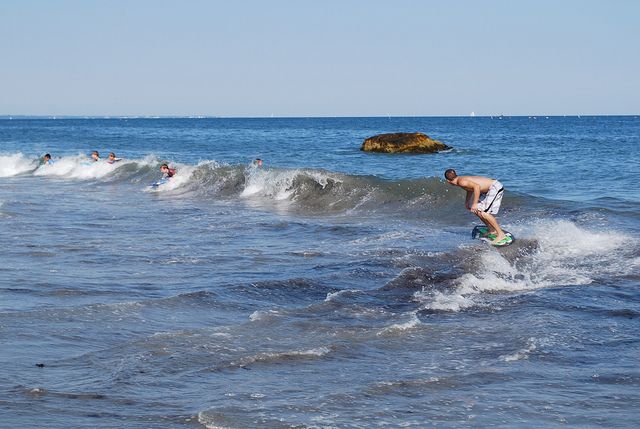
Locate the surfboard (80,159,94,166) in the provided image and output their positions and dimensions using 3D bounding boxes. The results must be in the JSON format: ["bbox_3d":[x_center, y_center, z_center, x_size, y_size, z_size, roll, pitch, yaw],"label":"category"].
[{"bbox_3d":[-9.306,-2.065,35.675,0.123,0.185,0.809,32,-7,-36],"label":"surfboard"}]

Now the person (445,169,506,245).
[{"bbox_3d":[3.344,-0.173,19.239,1.294,1.574,1.074,2,7,7],"label":"person"}]

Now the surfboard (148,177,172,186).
[{"bbox_3d":[-5.584,-1.157,31.293,1.185,0.160,0.307,-11,19,-41],"label":"surfboard"}]

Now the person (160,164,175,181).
[{"bbox_3d":[-5.262,-1.468,30.988,0.414,0.594,1.689,0,5,-8],"label":"person"}]

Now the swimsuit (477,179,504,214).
[{"bbox_3d":[3.621,-0.372,19.142,0.498,0.731,0.474,2,7,9],"label":"swimsuit"}]
